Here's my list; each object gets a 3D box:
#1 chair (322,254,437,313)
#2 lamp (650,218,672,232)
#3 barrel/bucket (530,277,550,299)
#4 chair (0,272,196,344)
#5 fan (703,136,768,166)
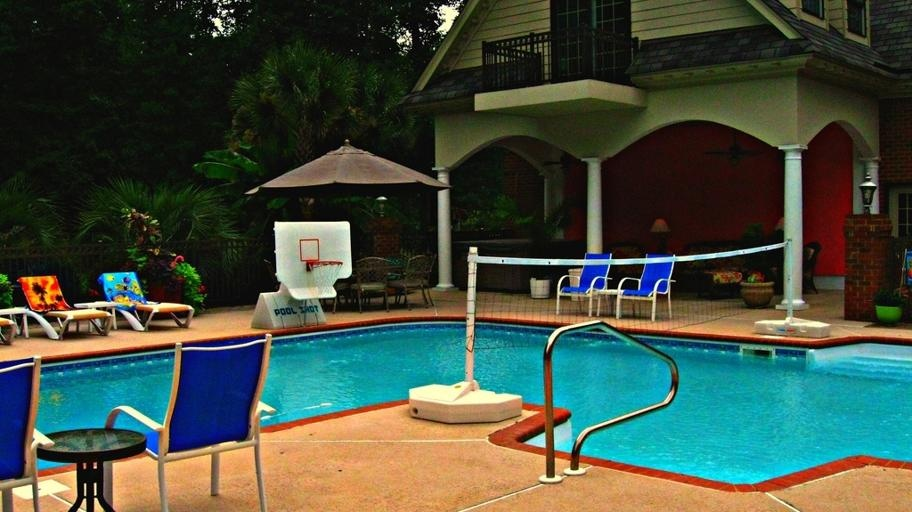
[{"bbox_3d":[-1.860,0.697,18.985,2.469,1.407,2.283,0,2,-3],"label":"chair"},{"bbox_3d":[6.617,-0.966,23.120,0.590,0.501,0.711,0,2,15],"label":"lamp"},{"bbox_3d":[2.470,0.973,20.523,0.593,0.404,0.536,1,1,43],"label":"barrel/bucket"},{"bbox_3d":[-8.087,1.078,15.969,3.386,1.351,2.390,-1,2,-14],"label":"chair"},{"bbox_3d":[8.250,-2.906,21.078,1.430,1.205,0.479,3,38,18],"label":"fan"}]
